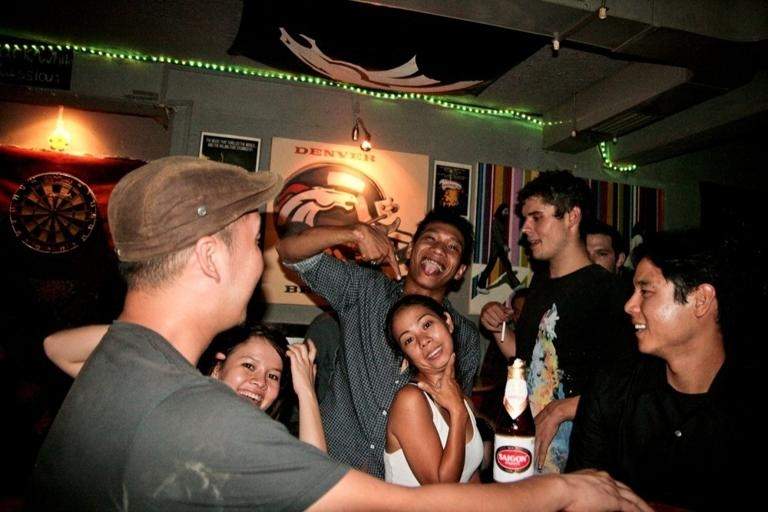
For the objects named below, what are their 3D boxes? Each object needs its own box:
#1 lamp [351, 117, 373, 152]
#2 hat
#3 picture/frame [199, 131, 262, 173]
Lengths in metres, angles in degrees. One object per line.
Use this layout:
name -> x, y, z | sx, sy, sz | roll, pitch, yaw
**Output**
lamp -> -0.219, -1.203, 5.569 | 0.212, 0.312, 0.249 | 4, 1, -4
hat -> -0.875, -0.207, 2.611 | 0.632, 0.280, 0.460 | -26, 24, -15
picture/frame -> -1.468, -0.970, 5.420 | 0.539, 0.365, 0.027 | 4, 29, -18
